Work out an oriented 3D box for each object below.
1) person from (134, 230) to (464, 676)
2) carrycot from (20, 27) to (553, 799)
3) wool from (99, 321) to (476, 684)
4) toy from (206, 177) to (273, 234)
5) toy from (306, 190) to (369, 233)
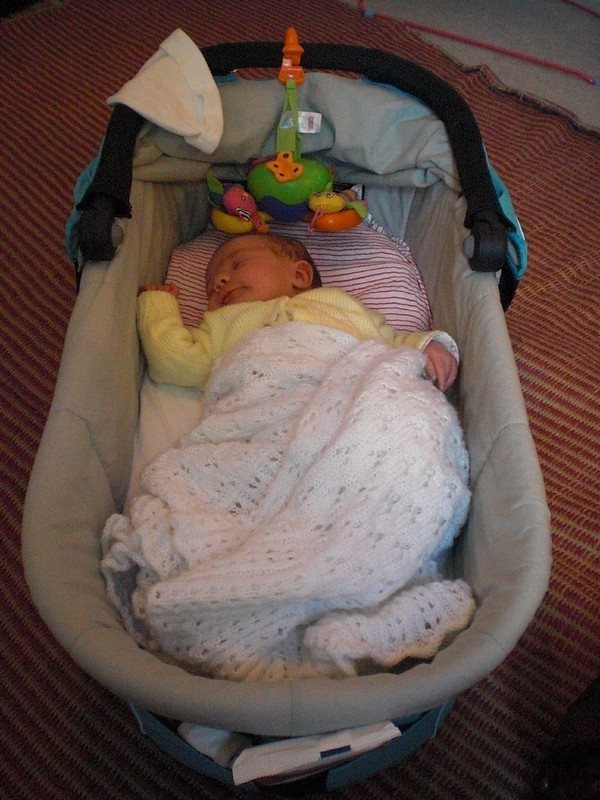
[{"bbox_3d":[-0.009,0.089,1.185,0.509,0.160,0.576,0,52,1],"label":"person"},{"bbox_3d":[-0.024,-0.001,1.459,0.857,0.478,1.281,2,57,-1],"label":"carrycot"},{"bbox_3d":[0.010,0.142,1.113,0.514,0.155,0.439,0,60,-2],"label":"wool"},{"bbox_3d":[-0.149,-0.427,1.709,0.150,0.063,0.113,34,74,0],"label":"toy"},{"bbox_3d":[0.081,-0.422,1.702,0.127,0.051,0.084,-16,86,-13],"label":"toy"}]
